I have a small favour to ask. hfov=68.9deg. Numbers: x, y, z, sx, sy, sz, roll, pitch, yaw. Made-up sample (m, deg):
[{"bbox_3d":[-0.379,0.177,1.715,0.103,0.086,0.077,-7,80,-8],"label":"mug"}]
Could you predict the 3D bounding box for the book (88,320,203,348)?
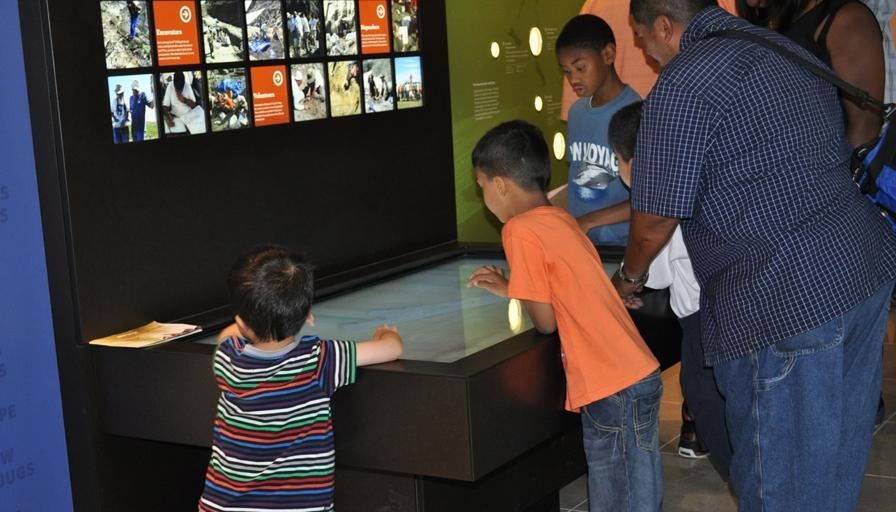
[{"bbox_3d":[-1.204,0.315,2.612,0.383,0.032,0.225,0,13,17],"label":"book"}]
